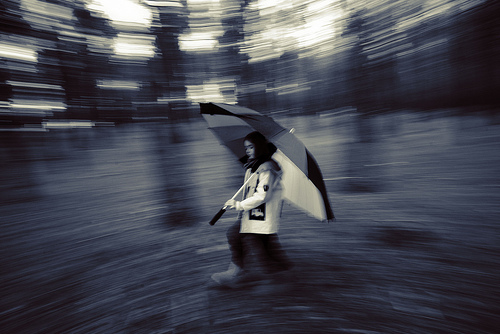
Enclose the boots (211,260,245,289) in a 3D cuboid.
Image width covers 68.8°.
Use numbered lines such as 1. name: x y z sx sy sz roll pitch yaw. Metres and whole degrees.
1. boots: -0.608 2.445 8.368 0.396 0.447 0.946 -7 -20 39
